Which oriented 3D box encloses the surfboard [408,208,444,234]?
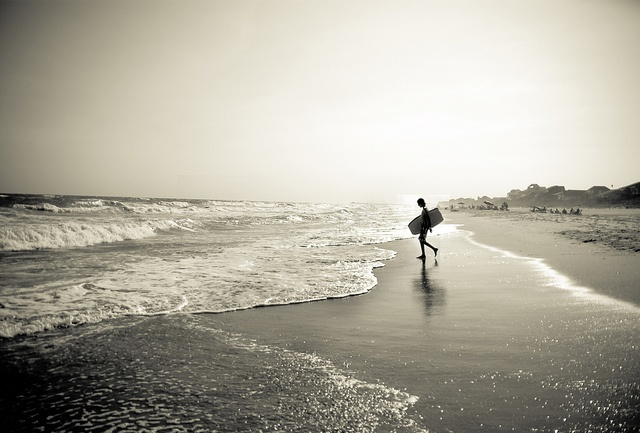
[{"bbox_3d":[5.100,0.237,23.130,2.166,1.049,0.238,-23,-2,-12],"label":"surfboard"}]
